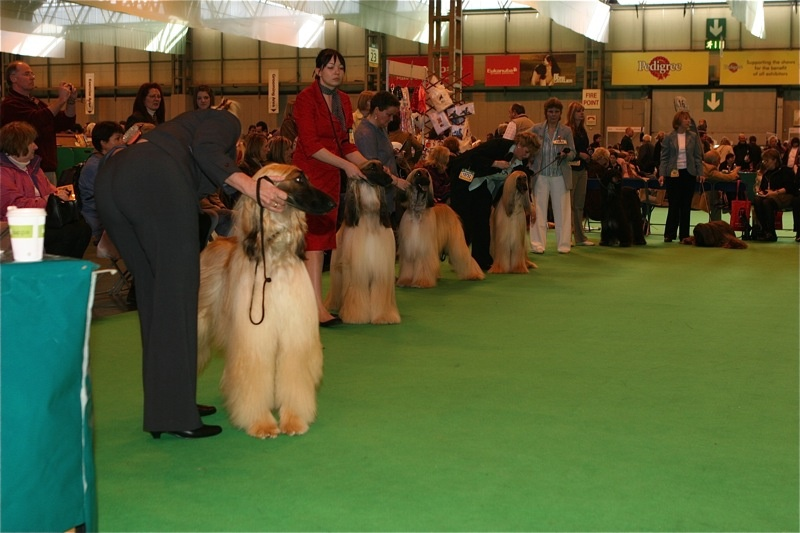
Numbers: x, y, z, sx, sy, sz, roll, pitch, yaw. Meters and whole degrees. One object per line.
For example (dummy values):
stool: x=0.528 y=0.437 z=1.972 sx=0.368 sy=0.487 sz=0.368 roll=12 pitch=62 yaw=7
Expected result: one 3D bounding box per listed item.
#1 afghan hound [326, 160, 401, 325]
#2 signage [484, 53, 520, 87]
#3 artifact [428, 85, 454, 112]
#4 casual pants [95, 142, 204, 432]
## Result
afghan hound: x=-0.252 y=-0.188 z=5.457 sx=0.549 sy=1.382 sz=1.023 roll=-2 pitch=9 yaw=-15
signage: x=4.098 y=-7.749 z=25.650 sx=1.353 sy=1.318 sz=0.315 roll=1 pitch=0 yaw=8
artifact: x=0.585 y=-2.470 z=9.486 sx=0.321 sy=0.420 sz=0.135 roll=-31 pitch=-17 yaw=-7
casual pants: x=-1.180 y=0.122 z=3.077 sx=0.459 sy=1.400 sz=0.268 roll=-2 pitch=9 yaw=-12
